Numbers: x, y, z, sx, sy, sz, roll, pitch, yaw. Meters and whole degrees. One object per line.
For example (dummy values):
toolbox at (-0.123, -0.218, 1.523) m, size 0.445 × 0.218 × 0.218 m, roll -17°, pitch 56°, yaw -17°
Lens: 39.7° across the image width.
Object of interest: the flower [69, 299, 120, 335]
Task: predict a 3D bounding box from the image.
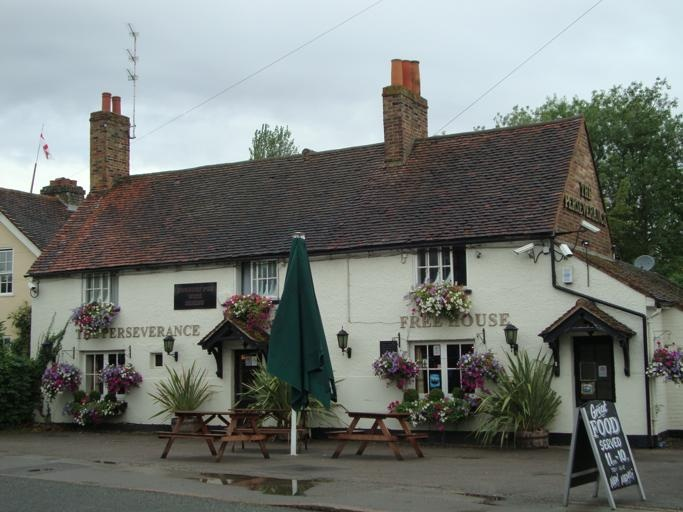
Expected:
flower at (-7.147, 1.764, 27.393) m, size 1.005 × 1.172 × 1.009 m, roll -4°, pitch -6°, yaw 25°

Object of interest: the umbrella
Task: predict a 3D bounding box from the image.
umbrella at (-0.916, 1.713, 20.436) m, size 1.179 × 4.199 × 1.314 m, roll 5°, pitch -2°, yaw -19°

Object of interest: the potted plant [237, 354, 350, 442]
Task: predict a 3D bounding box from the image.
potted plant at (-1.572, 3.714, 24.177) m, size 2.492 × 2.338 × 2.027 m, roll -5°, pitch -7°, yaw 35°

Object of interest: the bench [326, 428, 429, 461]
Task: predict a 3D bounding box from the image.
bench at (0.853, 4.312, 21.617) m, size 2.255 × 0.789 × 2.430 m, roll -3°, pitch -8°, yaw 37°

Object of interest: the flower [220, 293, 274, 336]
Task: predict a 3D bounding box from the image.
flower at (-2.595, 1.539, 25.373) m, size 0.976 × 1.154 × 0.939 m, roll 3°, pitch -6°, yaw -45°

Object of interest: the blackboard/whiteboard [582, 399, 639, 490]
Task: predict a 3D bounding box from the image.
blackboard/whiteboard at (4.432, 3.211, 16.162) m, size 0.789 × 1.663 × 0.862 m, roll 9°, pitch -8°, yaw -35°

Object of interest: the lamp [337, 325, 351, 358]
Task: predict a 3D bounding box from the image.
lamp at (0.055, 2.204, 24.621) m, size 0.356 × 0.841 × 0.352 m, roll -1°, pitch -10°, yaw 5°

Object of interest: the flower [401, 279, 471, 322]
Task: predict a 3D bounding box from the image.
flower at (2.404, 1.101, 23.505) m, size 1.321 × 0.971 × 1.077 m, roll -4°, pitch -6°, yaw 31°

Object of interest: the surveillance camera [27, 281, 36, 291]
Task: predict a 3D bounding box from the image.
surveillance camera at (-9.407, 0.882, 28.761) m, size 0.268 × 0.330 × 0.127 m, roll 2°, pitch -2°, yaw -8°

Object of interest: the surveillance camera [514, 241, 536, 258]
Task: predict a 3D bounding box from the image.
surveillance camera at (4.436, -0.208, 23.087) m, size 0.509 × 0.322 × 0.363 m, roll -3°, pitch -11°, yaw 13°

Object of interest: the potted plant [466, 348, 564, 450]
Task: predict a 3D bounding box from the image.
potted plant at (4.233, 3.377, 22.600) m, size 1.955 × 2.301 × 1.049 m, roll -2°, pitch -11°, yaw 11°

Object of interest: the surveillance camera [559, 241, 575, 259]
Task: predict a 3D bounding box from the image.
surveillance camera at (5.374, -0.169, 22.736) m, size 0.333 × 0.359 × 0.364 m, roll -3°, pitch -11°, yaw 17°

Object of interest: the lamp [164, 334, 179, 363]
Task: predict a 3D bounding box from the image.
lamp at (-4.815, 2.530, 26.470) m, size 0.409 × 0.765 × 0.538 m, roll -2°, pitch -11°, yaw 10°

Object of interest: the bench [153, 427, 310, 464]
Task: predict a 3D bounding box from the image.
bench at (-2.413, 4.296, 21.503) m, size 2.610 × 0.893 × 3.133 m, roll 0°, pitch -7°, yaw 23°
